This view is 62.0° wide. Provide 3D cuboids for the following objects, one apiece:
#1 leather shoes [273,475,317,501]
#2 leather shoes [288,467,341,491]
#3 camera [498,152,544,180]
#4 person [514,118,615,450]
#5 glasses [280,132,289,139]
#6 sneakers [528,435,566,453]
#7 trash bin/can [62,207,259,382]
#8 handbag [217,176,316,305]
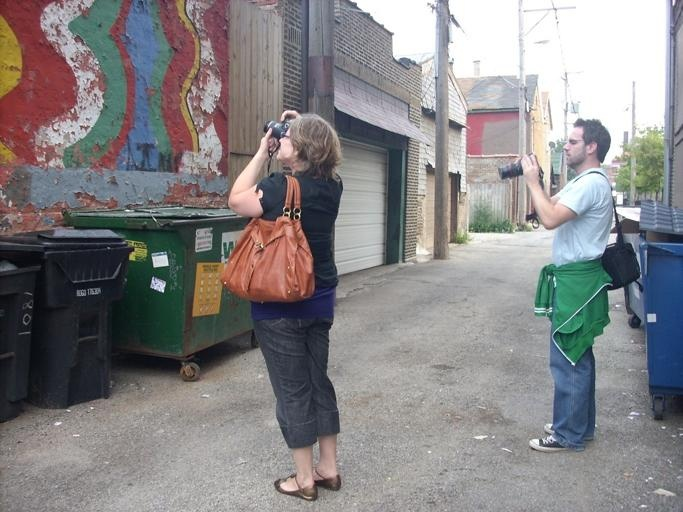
[{"bbox_3d":[-0.309,1.565,3.851,0.255,0.111,0.133,16,12,32],"label":"leather shoes"},{"bbox_3d":[-0.186,1.502,3.984,0.346,0.163,0.135,4,1,21],"label":"leather shoes"},{"bbox_3d":[1.424,-0.701,4.587,0.259,0.111,0.193,-20,9,9],"label":"camera"},{"bbox_3d":[1.744,0.213,4.392,0.606,2.534,0.860,4,9,27],"label":"person"},{"bbox_3d":[-0.376,-0.792,3.736,0.047,0.015,0.048,-10,9,12],"label":"glasses"},{"bbox_3d":[1.603,1.436,4.441,0.259,0.116,0.111,5,-4,9],"label":"sneakers"},{"bbox_3d":[-1.778,0.278,6.587,1.293,1.938,2.035,0,3,14],"label":"trash bin/can"},{"bbox_3d":[-0.477,-0.120,3.592,0.572,0.770,0.298,-1,8,-10],"label":"handbag"}]
